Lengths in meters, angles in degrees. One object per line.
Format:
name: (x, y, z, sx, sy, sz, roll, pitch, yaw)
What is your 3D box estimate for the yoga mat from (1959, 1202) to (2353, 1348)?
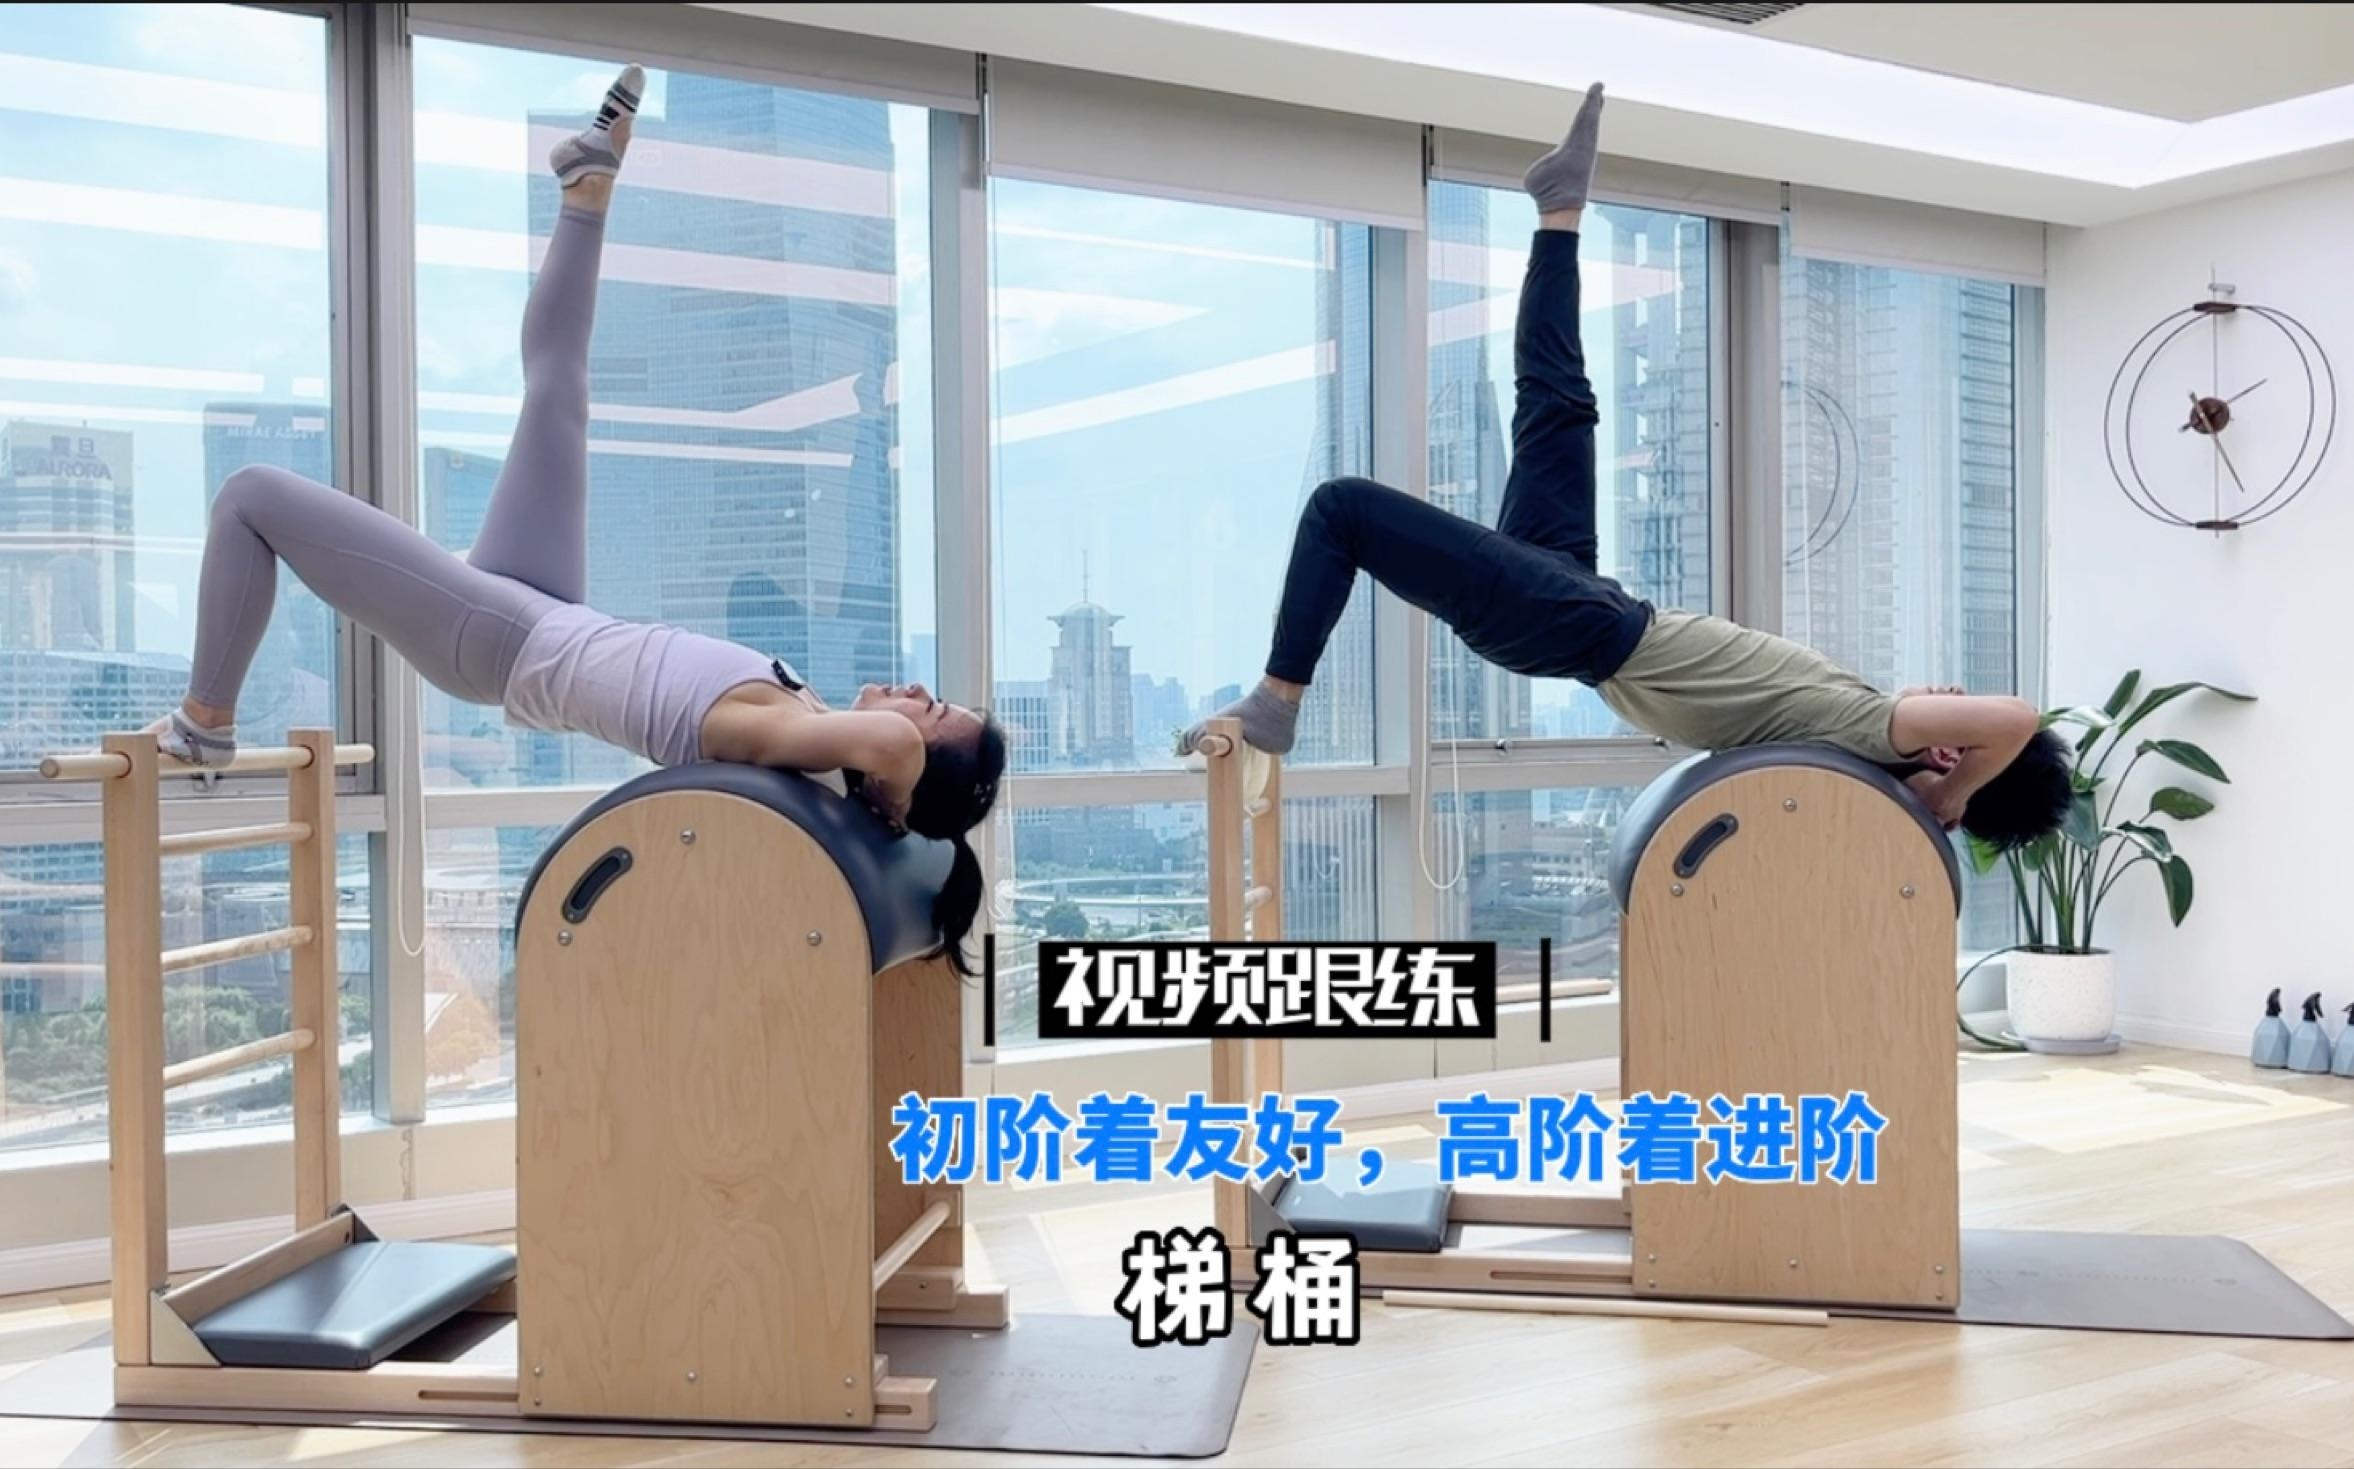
yoga mat: (2.400, 1.369, 5.462, 0.923, 0.143, 0.488, 1, -1, 7)

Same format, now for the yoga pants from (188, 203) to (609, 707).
yoga pants: (-1.884, -0.625, 5.502, 0.992, 1.228, 0.747, 3, 6, -3)

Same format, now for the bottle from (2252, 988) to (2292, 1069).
bottle: (3.612, 0.964, 7.165, 0.107, 0.253, 0.134, 1, -1, 24)

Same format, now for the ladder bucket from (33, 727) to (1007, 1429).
ladder bucket: (-1.558, 0.709, 5.919, 2.965, 1.552, 2.231, -1, 11, -26)

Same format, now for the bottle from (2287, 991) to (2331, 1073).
bottle: (3.700, 0.969, 7.063, 0.132, 0.245, 0.115, 1, -1, -6)

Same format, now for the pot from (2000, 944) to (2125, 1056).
pot: (3.037, 0.905, 7.551, 0.401, 0.310, 0.403, 1, 1, 0)

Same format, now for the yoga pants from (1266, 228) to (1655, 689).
yoga pants: (0.715, -0.721, 5.818, 1.009, 1.119, 1.122, -2, 5, -33)
